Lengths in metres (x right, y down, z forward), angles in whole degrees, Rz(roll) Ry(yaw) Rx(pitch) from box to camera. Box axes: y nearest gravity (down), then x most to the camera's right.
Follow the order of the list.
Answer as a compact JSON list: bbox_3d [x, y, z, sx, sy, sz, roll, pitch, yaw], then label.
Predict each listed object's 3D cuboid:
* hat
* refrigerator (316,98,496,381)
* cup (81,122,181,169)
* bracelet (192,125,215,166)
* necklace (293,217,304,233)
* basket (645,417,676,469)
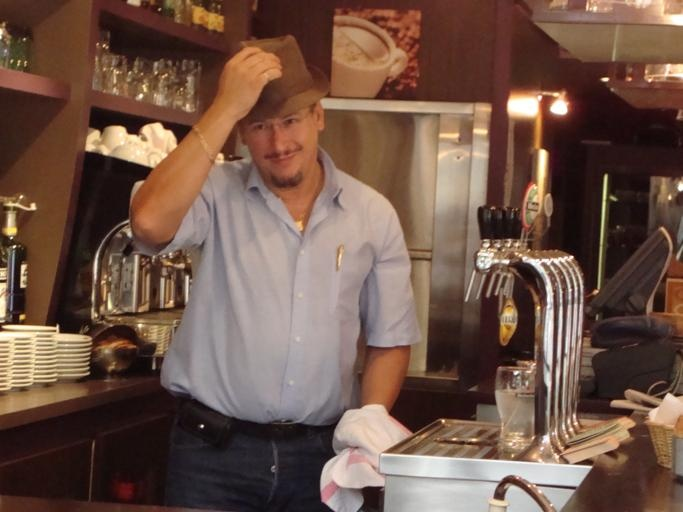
[{"bbox_3d":[-0.161,-0.535,1.963,0.301,0.118,0.276,-20,35,18],"label":"hat"},{"bbox_3d":[0.550,-0.071,4.369,1.250,2.473,1.289,1,-2,2],"label":"refrigerator"},{"bbox_3d":[-0.938,-0.505,2.833,0.303,0.141,0.415,20,3,28],"label":"cup"},{"bbox_3d":[-0.401,-0.326,1.801,0.065,0.109,0.042,-2,3,-13],"label":"bracelet"},{"bbox_3d":[-0.139,-0.104,2.030,0.032,0.035,0.033,-1,1,2],"label":"necklace"},{"bbox_3d":[0.785,0.457,1.509,0.078,0.068,0.079,1,-1,-37],"label":"basket"}]
